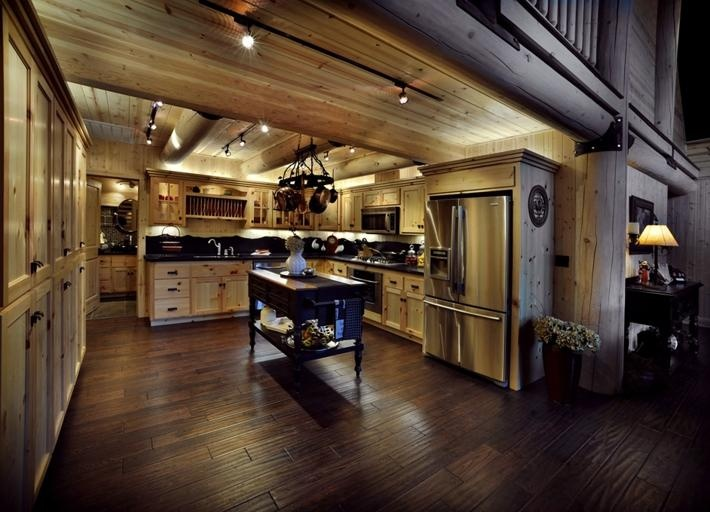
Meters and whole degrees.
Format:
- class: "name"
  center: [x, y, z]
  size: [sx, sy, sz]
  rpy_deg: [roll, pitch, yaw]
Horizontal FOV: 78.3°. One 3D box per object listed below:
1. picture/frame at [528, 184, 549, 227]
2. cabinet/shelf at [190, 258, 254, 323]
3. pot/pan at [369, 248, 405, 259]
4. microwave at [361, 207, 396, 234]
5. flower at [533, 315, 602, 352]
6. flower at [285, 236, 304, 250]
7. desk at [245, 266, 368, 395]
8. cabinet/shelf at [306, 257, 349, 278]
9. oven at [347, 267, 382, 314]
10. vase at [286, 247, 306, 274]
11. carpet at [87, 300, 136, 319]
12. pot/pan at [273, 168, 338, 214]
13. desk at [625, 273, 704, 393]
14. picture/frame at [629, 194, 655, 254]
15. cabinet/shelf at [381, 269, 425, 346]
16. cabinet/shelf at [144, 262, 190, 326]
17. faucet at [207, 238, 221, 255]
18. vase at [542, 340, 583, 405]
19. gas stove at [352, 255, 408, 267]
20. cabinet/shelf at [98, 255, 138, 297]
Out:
- class: "picture/frame"
  center: [1.944, -0.543, 4.688]
  size: [0.456, 0.475, 0.021]
  rpy_deg: [2, -3, -45]
- class: "cabinet/shelf"
  center: [-2.137, 0.488, 6.945]
  size: [0.922, 0.828, 0.333]
  rpy_deg: [-2, 5, -33]
- class: "pot/pan"
  center: [0.536, -0.049, 7.284]
  size: [0.207, 0.120, 0.778]
  rpy_deg: [3, -6, -22]
- class: "microwave"
  center: [0.399, -0.594, 7.173]
  size: [0.165, 0.438, 0.905]
  rpy_deg: [-2, 3, -29]
- class: "flower"
  center: [2.139, 0.834, 4.508]
  size: [0.578, 0.286, 0.602]
  rpy_deg: [5, 9, -45]
- class: "flower"
  center: [-0.685, -0.164, 4.998]
  size: [0.176, 0.184, 0.182]
  rpy_deg: [-9, -4, -4]
- class: "desk"
  center: [-0.561, 0.574, 4.931]
  size: [0.999, 1.179, 1.639]
  rpy_deg: [0, 3, -32]
- class: "cabinet/shelf"
  center: [-0.565, 0.184, 7.730]
  size: [0.328, 0.410, 0.602]
  rpy_deg: [2, -2, -26]
- class: "oven"
  center: [0.247, 0.490, 6.744]
  size: [0.507, 0.755, 0.743]
  rpy_deg: [2, -2, -20]
- class: "vase"
  center: [-0.680, 0.060, 5.123]
  size: [0.244, 0.363, 0.264]
  rpy_deg: [0, -2, -7]
- class: "carpet"
  center: [-3.975, 0.884, 7.234]
  size: [0.654, 0.078, 1.480]
  rpy_deg: [-2, 3, -28]
- class: "pot/pan"
  center: [-0.529, -0.733, 4.908]
  size: [0.457, 0.493, 0.790]
  rpy_deg: [-3, 4, -41]
- class: "desk"
  center: [3.566, 0.918, 5.102]
  size: [1.179, 0.852, 0.590]
  rpy_deg: [1, 0, -44]
- class: "picture/frame"
  center: [3.525, -0.392, 5.427]
  size: [0.052, 0.758, 0.729]
  rpy_deg: [-4, -8, 43]
- class: "cabinet/shelf"
  center: [0.779, 0.689, 6.080]
  size: [0.337, 0.882, 0.904]
  rpy_deg: [-3, 6, -33]
- class: "cabinet/shelf"
  center: [-2.794, 0.500, 6.615]
  size: [0.636, 0.878, 0.563]
  rpy_deg: [0, 8, -24]
- class: "faucet"
  center: [-2.350, -0.168, 7.410]
  size: [0.232, 0.263, 0.123]
  rpy_deg: [-2, 3, -27]
- class: "vase"
  center: [2.073, 1.165, 4.435]
  size: [0.341, 0.546, 0.347]
  rpy_deg: [-3, -2, -9]
- class: "gas stove"
  center: [0.396, 0.061, 6.882]
  size: [0.612, 0.111, 1.190]
  rpy_deg: [-2, 3, -33]
- class: "cabinet/shelf"
  center: [-4.480, 0.408, 8.593]
  size: [0.793, 0.839, 0.398]
  rpy_deg: [-1, 2, -2]
